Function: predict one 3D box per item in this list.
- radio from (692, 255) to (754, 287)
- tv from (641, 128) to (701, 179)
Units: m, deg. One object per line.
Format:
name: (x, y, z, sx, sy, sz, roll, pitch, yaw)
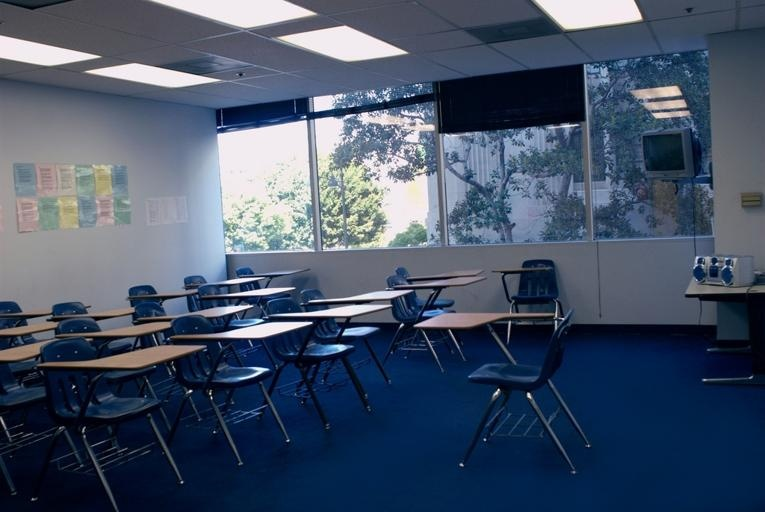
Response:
radio: (3.797, 0.145, 6.496, 0.550, 0.339, 0.602, 1, 3, 14)
tv: (3.721, -1.328, 7.406, 0.651, 0.612, 0.249, -2, 12, 11)
